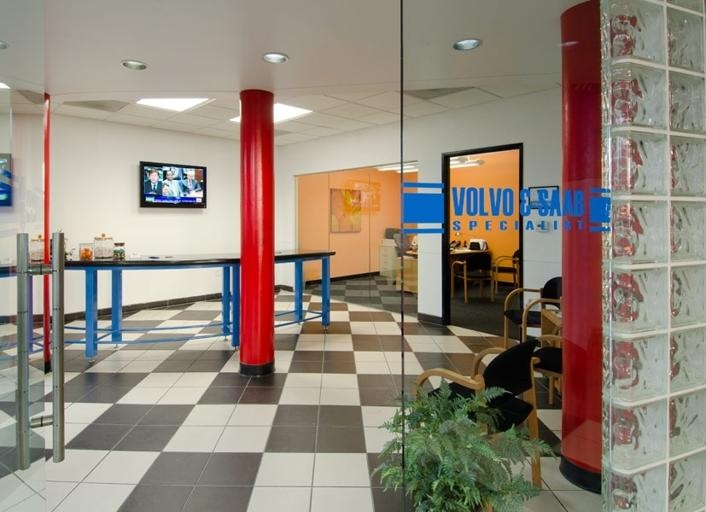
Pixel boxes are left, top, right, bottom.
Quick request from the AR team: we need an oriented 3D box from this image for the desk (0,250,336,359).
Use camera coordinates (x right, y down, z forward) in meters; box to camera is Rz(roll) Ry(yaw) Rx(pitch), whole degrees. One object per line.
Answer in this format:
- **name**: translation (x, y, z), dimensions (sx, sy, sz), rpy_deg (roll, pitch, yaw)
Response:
- **desk**: translation (-1.537, 0.374, 6.085), dimensions (2.457, 1.008, 3.205), rpy_deg (3, 8, 18)
